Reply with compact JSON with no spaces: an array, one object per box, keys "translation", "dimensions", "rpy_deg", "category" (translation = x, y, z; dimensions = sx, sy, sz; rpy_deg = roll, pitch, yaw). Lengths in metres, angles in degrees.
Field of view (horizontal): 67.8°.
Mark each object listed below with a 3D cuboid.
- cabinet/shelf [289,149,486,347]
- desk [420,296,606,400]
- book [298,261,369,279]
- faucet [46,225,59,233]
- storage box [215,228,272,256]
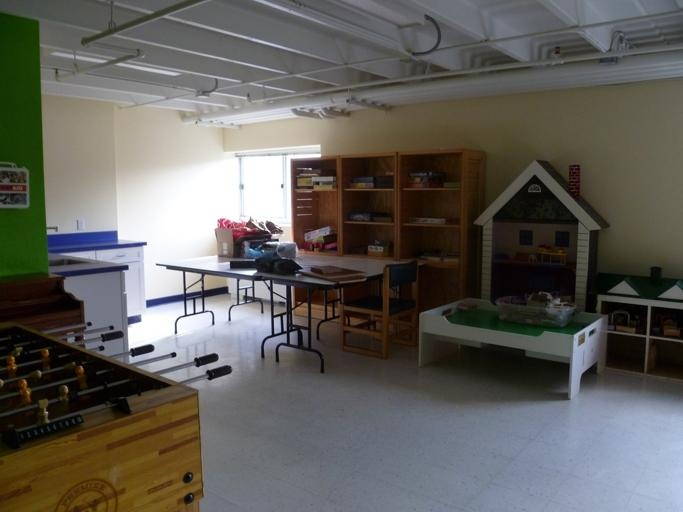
[{"translation":[0.712,-0.313,7.060],"dimensions":[2.447,1.962,0.665],"rpy_deg":[6,12,39],"category":"cabinet/shelf"},{"translation":[1.779,0.894,5.338],"dimensions":[1.663,0.602,1.039],"rpy_deg":[6,12,33],"category":"desk"},{"translation":[-0.144,0.184,5.554],"dimensions":[0.503,0.065,0.702],"rpy_deg":[-9,13,-41],"category":"book"},{"translation":[-3.893,-0.349,6.865],"dimensions":[0.115,0.104,0.177],"rpy_deg":[-3,10,-15],"category":"faucet"},{"translation":[-1.373,-0.196,6.870],"dimensions":[0.415,0.244,0.550],"rpy_deg":[6,9,42],"category":"storage box"}]
